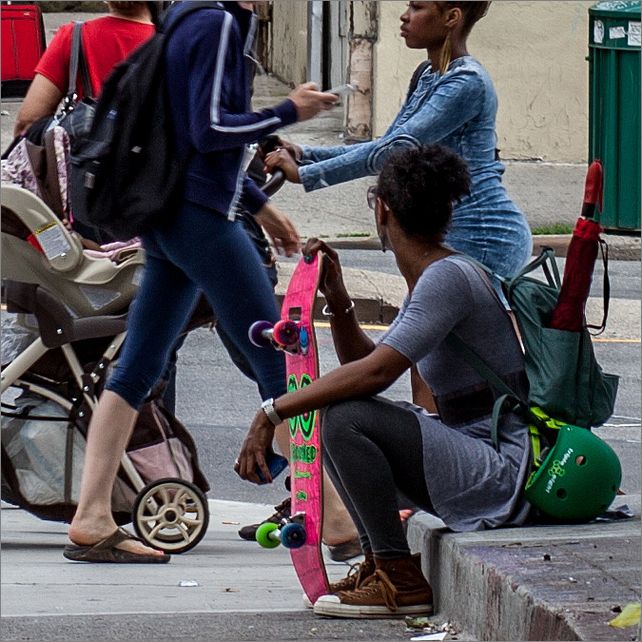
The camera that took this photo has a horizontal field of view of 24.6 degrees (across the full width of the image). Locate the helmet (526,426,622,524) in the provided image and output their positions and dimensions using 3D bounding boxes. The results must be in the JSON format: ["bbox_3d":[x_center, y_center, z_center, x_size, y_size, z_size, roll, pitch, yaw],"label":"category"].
[{"bbox_3d":[0.785,0.473,4.417,0.219,0.246,0.291,-38,-16,8],"label":"helmet"}]

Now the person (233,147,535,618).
[{"bbox_3d":[0.198,0.169,4.378,0.896,1.350,0.497,-6,6,-11],"label":"person"}]

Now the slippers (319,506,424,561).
[{"bbox_3d":[0.168,0.763,5.052,0.293,0.097,0.094,-20,-4,12],"label":"slippers"}]

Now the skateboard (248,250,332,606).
[{"bbox_3d":[-0.064,0.325,4.383,0.179,0.999,0.236,1,-2,6],"label":"skateboard"}]

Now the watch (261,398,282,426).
[{"bbox_3d":[-0.134,0.258,4.135,0.050,0.074,0.063,-7,6,-19],"label":"watch"}]

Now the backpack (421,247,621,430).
[{"bbox_3d":[0.683,0.041,4.623,0.493,0.538,0.565,-24,27,-19],"label":"backpack"}]

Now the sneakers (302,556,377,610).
[{"bbox_3d":[0.098,0.769,4.391,0.235,0.087,0.074,-6,9,-17],"label":"sneakers"}]

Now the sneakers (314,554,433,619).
[{"bbox_3d":[0.164,0.761,4.246,0.340,0.177,0.121,2,-8,-20],"label":"sneakers"}]

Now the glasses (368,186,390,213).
[{"bbox_3d":[0.174,-0.392,4.654,0.027,0.089,0.088,-22,-3,2],"label":"glasses"}]

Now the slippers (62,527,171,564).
[{"bbox_3d":[-0.696,0.771,5.069,0.377,0.126,0.131,1,-4,-6],"label":"slippers"}]
